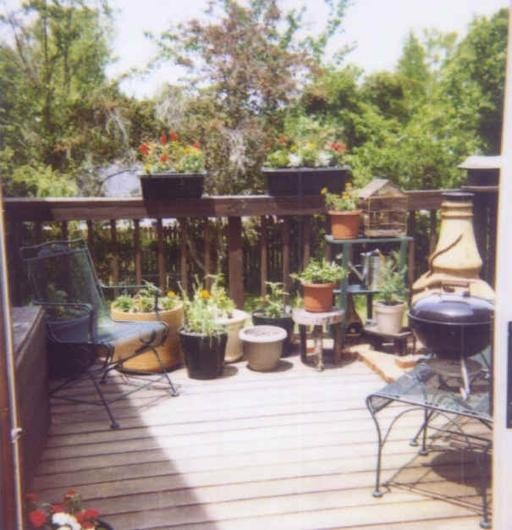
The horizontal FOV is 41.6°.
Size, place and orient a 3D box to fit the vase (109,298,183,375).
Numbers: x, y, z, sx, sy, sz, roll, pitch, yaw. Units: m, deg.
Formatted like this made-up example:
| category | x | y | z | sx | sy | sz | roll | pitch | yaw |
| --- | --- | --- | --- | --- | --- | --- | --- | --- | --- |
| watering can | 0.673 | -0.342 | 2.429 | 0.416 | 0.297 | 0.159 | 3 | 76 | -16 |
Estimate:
| category | x | y | z | sx | sy | sz | roll | pitch | yaw |
| --- | --- | --- | --- | --- | --- | --- | --- | --- | --- |
| vase | -0.632 | 0.507 | 4.400 | 0.472 | 0.500 | 0.550 | -2 | -17 | 8 |

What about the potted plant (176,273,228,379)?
| category | x | y | z | sx | sy | sz | roll | pitch | yaw |
| --- | --- | --- | --- | --- | --- | --- | --- | --- | --- |
| potted plant | -0.329 | 0.402 | 4.156 | 0.291 | 0.560 | 0.464 | -2 | 14 | -7 |

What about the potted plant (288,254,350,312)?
| category | x | y | z | sx | sy | sz | roll | pitch | yaw |
| --- | --- | --- | --- | --- | --- | --- | --- | --- | --- |
| potted plant | 0.400 | 0.141 | 4.260 | 0.258 | 0.327 | 0.289 | -11 | 14 | -42 |

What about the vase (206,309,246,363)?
| category | x | y | z | sx | sy | sz | roll | pitch | yaw |
| --- | --- | --- | --- | --- | --- | --- | --- | --- | --- |
| vase | -0.164 | 0.468 | 4.275 | 0.237 | 0.307 | 0.253 | 13 | 22 | 30 |

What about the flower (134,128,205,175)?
| category | x | y | z | sx | sy | sz | roll | pitch | yaw |
| --- | --- | --- | --- | --- | --- | --- | --- | --- | --- |
| flower | -0.578 | -0.769 | 4.595 | 0.422 | 0.253 | 0.550 | -3 | 15 | -10 |

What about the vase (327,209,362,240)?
| category | x | y | z | sx | sy | sz | roll | pitch | yaw |
| --- | --- | --- | --- | --- | --- | --- | --- | --- | --- |
| vase | 0.579 | -0.290 | 4.420 | 0.165 | 0.163 | 0.184 | 4 | 13 | 22 |

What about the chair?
| category | x | y | z | sx | sy | sz | roll | pitch | yaw |
| --- | --- | --- | --- | --- | --- | --- | --- | --- | --- |
| chair | -0.849 | 0.331 | 3.652 | 0.590 | 1.015 | 0.636 | -3 | 5 | 20 |

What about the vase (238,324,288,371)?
| category | x | y | z | sx | sy | sz | roll | pitch | yaw |
| --- | --- | --- | --- | --- | --- | --- | --- | --- | --- |
| vase | 0.040 | 0.506 | 4.170 | 0.231 | 0.205 | 0.261 | 0 | 1 | 16 |

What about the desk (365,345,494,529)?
| category | x | y | z | sx | sy | sz | roll | pitch | yaw |
| --- | --- | --- | --- | --- | --- | --- | --- | --- | --- |
| desk | 0.805 | 0.505 | 3.087 | 0.530 | 0.910 | 0.786 | 5 | 9 | 27 |

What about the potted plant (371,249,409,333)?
| category | x | y | z | sx | sy | sz | roll | pitch | yaw |
| --- | --- | --- | --- | --- | --- | --- | --- | --- | --- |
| potted plant | 0.861 | 0.179 | 4.281 | 0.163 | 0.494 | 0.217 | -1 | 5 | -25 |

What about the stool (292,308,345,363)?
| category | x | y | z | sx | sy | sz | roll | pitch | yaw |
| --- | --- | --- | --- | --- | --- | --- | --- | --- | --- |
| stool | 0.408 | 0.444 | 4.278 | 0.270 | 0.356 | 0.283 | 5 | 14 | 33 |

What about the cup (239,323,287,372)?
| category | x | y | z | sx | sy | sz | roll | pitch | yaw |
| --- | --- | --- | --- | --- | --- | --- | --- | --- | --- |
| cup | 0.041 | 0.533 | 4.231 | 0.289 | 0.261 | 0.289 | -1 | 14 | 0 |

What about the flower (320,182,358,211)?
| category | x | y | z | sx | sy | sz | roll | pitch | yaw |
| --- | --- | --- | --- | --- | --- | --- | --- | --- | --- |
| flower | 0.578 | -0.451 | 4.574 | 0.254 | 0.196 | 0.445 | -1 | 15 | 1 |

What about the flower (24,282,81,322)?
| category | x | y | z | sx | sy | sz | roll | pitch | yaw |
| --- | --- | --- | --- | --- | --- | --- | --- | --- | --- |
| flower | -1.055 | 0.204 | 3.577 | 0.208 | 0.243 | 0.180 | -1 | 13 | -12 |
